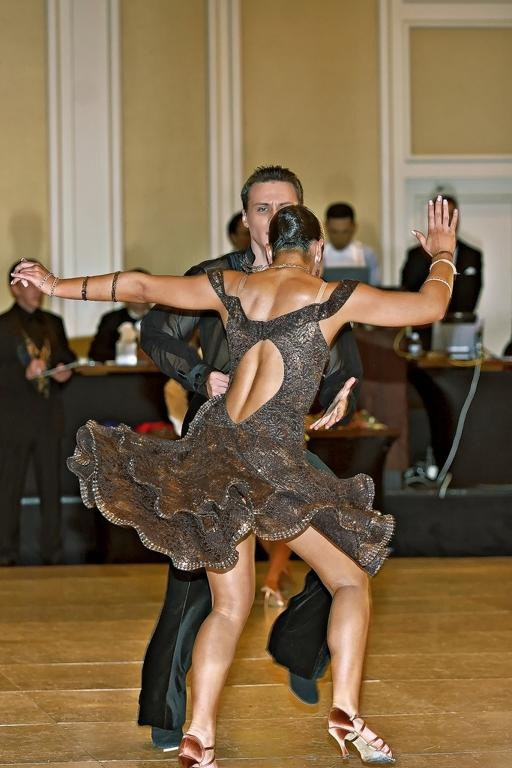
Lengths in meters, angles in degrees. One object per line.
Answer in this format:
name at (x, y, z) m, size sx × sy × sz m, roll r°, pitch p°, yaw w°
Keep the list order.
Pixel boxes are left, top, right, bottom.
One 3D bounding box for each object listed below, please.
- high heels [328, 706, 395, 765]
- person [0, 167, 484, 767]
high heels at (0.198, 0.651, 1.408) m, size 0.098 × 0.073 × 0.232 m, roll -16°, pitch -36°, yaw 22°
person at (-0.027, 0.140, 1.520) m, size 0.849 × 1.047 × 0.303 m, roll -2°, pitch -6°, yaw 11°
